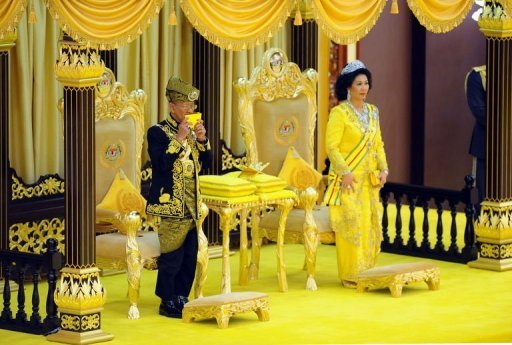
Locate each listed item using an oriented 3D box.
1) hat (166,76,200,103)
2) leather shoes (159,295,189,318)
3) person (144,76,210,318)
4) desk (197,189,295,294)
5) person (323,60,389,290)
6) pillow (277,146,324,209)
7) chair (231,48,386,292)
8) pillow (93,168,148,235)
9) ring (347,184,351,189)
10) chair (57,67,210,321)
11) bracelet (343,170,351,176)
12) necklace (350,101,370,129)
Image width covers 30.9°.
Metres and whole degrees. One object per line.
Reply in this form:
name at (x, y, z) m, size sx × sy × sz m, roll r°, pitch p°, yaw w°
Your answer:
hat at (-0.657, -0.708, 8.317) m, size 0.262 × 0.212 × 0.214 m, roll 9°, pitch 16°, yaw -3°
leather shoes at (-0.719, 1.205, 8.302) m, size 0.116 × 0.166 × 0.356 m, roll -2°, pitch -3°, yaw -41°
person at (-0.722, 0.208, 8.368) m, size 0.478 × 2.077 × 0.576 m, roll 4°, pitch 10°, yaw 22°
desk at (-0.046, 0.453, 9.191) m, size 0.942 × 0.871 × 0.933 m, roll -9°, pitch 30°, yaw -19°
person at (0.986, 0.006, 9.190) m, size 0.564 × 2.165 × 0.545 m, roll 4°, pitch 10°, yaw 24°
pillow at (0.469, 0.060, 9.460) m, size 0.448 × 0.582 × 0.165 m, roll -19°, pitch 3°, yaw -28°
chair at (0.615, -0.042, 9.493) m, size 1.245 × 2.292 × 1.161 m, roll 2°, pitch 0°, yaw 21°
pillow at (-1.195, 0.213, 8.789) m, size 0.524 × 0.539 × 0.192 m, roll 2°, pitch 38°, yaw -32°
ring at (0.918, 0.139, 9.043) m, size 0.049 × 0.049 × 0.023 m, roll 1°, pitch 10°, yaw 5°
chair at (-1.416, 0.181, 8.665) m, size 1.220 × 2.050 × 1.114 m, roll -6°, pitch 8°, yaw -10°
bracelet at (0.887, 0.009, 9.002) m, size 0.032 × 0.045 × 0.045 m, roll 33°, pitch 2°, yaw -5°
necklace at (1.037, -0.551, 9.137) m, size 0.168 × 0.230 × 0.054 m, roll -15°, pitch -7°, yaw -39°
